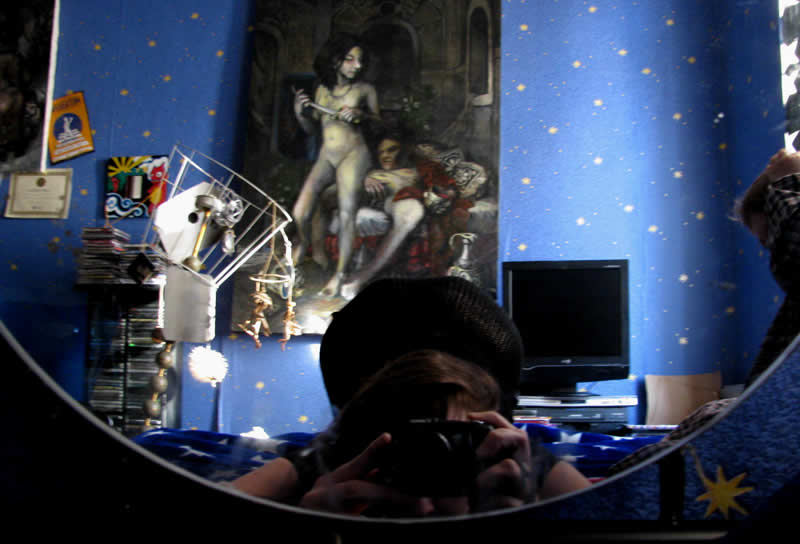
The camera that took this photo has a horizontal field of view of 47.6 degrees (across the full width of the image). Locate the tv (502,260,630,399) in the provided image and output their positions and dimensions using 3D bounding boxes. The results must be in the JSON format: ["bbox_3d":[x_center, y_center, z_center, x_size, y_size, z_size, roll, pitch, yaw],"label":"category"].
[{"bbox_3d":[0.690,0.225,3.780,0.700,0.549,0.218,-1,-8,6],"label":"tv"}]

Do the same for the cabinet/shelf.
[{"bbox_3d":[-1.262,0.371,4.111,0.615,0.658,0.175,1,-3,-9],"label":"cabinet/shelf"}]
